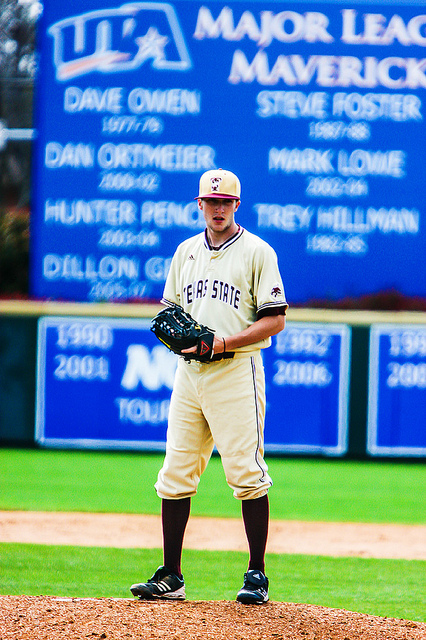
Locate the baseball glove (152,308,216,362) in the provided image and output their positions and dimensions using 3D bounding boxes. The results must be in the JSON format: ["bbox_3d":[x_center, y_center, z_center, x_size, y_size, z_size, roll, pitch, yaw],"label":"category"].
[{"bbox_3d":[-0.135,0.068,6.354,0.263,0.207,0.117,45,34,23],"label":"baseball glove"}]

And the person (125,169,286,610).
[{"bbox_3d":[0.002,0.303,6.436,0.636,1.990,0.388,1,-1,11],"label":"person"}]
